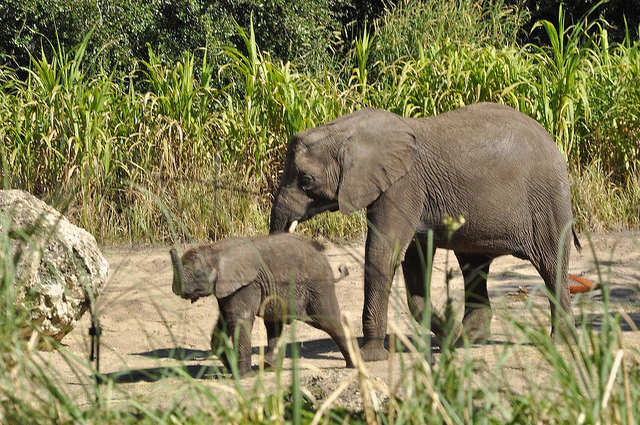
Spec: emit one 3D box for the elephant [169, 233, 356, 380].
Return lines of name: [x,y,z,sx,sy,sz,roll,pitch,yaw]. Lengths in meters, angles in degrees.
elephant: [-0.385,0.657,6.034,1.292,1.102,0.503,-1,9,-7]

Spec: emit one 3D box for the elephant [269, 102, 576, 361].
elephant: [0.823,0.120,6.320,2.134,1.889,0.858,0,6,15]
